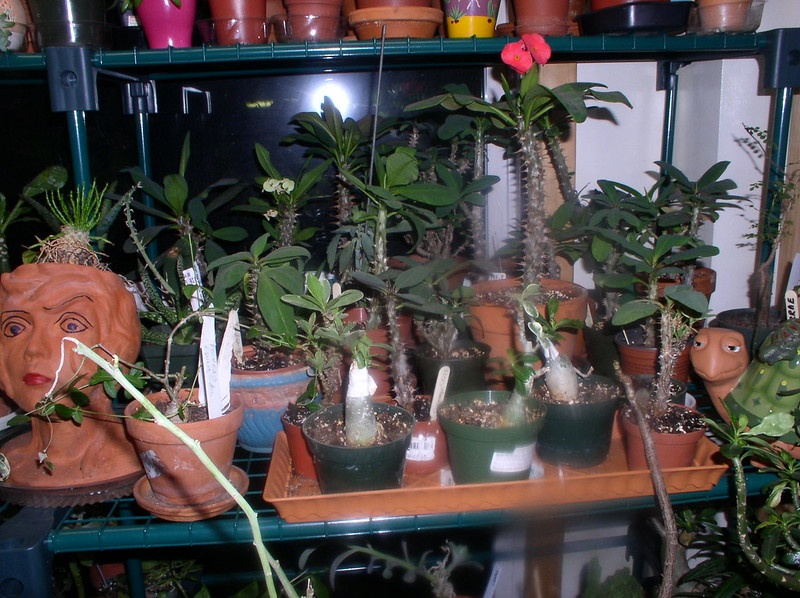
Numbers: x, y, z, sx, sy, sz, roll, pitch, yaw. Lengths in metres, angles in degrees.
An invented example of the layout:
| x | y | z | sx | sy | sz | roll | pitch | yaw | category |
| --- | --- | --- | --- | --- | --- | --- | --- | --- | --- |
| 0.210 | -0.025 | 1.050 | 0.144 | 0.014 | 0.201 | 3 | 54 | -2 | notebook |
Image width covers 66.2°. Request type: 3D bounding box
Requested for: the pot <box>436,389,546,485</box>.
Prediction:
| x | y | z | sx | sy | sz | roll | pitch | yaw | category |
| --- | --- | --- | --- | --- | --- | --- | --- | --- | --- |
| 0.185 | 0.278 | 1.224 | 0.206 | 0.148 | 0.170 | -3 | 16 | 3 | pot |

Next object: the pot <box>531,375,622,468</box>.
| x | y | z | sx | sy | sz | roll | pitch | yaw | category |
| --- | --- | --- | --- | --- | --- | --- | --- | --- | --- |
| 0.371 | 0.251 | 1.302 | 0.171 | 0.118 | 0.176 | -1 | 10 | 0 | pot |

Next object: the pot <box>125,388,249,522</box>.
| x | y | z | sx | sy | sz | roll | pitch | yaw | category |
| --- | --- | --- | --- | --- | --- | --- | --- | --- | --- |
| -0.420 | 0.301 | 1.263 | 0.279 | 0.204 | 0.263 | 1 | 10 | 0 | pot |

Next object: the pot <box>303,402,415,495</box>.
| x | y | z | sx | sy | sz | roll | pitch | yaw | category |
| --- | --- | --- | --- | --- | --- | --- | --- | --- | --- |
| -0.063 | 0.281 | 1.196 | 0.210 | 0.126 | 0.190 | 0 | 12 | 13 | pot |

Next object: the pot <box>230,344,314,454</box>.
| x | y | z | sx | sy | sz | roll | pitch | yaw | category |
| --- | --- | --- | --- | --- | --- | --- | --- | --- | --- |
| -0.287 | 0.233 | 1.409 | 0.194 | 0.146 | 0.192 | 1 | 8 | 0 | pot |
